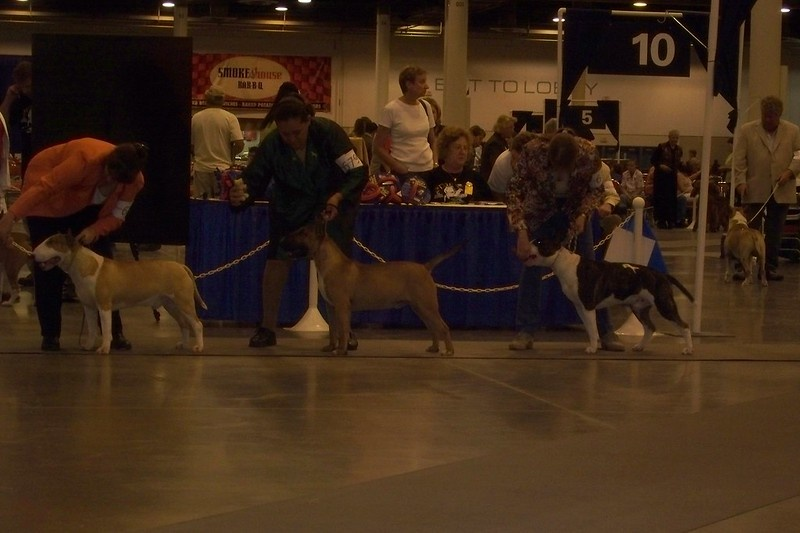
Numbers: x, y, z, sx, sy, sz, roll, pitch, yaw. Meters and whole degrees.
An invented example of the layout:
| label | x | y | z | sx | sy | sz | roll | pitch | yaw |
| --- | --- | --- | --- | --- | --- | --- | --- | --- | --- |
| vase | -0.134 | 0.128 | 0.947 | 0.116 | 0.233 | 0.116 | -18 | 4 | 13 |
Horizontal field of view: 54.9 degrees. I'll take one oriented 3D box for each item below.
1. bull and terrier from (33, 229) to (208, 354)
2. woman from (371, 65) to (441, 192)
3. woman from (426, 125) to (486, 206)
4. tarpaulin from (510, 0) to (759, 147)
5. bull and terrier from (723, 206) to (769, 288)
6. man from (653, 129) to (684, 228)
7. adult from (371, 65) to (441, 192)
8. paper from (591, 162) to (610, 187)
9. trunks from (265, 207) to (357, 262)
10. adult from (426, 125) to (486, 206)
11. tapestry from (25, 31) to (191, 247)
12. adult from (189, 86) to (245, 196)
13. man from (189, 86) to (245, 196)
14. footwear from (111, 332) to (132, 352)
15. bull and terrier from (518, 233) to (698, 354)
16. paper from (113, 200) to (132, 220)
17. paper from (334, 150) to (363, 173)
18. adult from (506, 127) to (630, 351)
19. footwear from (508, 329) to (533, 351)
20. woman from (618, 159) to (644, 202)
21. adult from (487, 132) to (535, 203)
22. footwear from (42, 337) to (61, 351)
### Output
| label | x | y | z | sx | sy | sz | roll | pitch | yaw |
| --- | --- | --- | --- | --- | --- | --- | --- | --- | --- |
| bull and terrier | -2.146 | 0.247 | 6.037 | 1.225 | 0.950 | 0.383 | 3 | -2 | -32 |
| woman | 0.035 | -1.486 | 8.212 | 0.593 | 1.162 | 0.697 | 2 | 6 | 12 |
| woman | 0.583 | -1.075 | 8.266 | 0.751 | 0.841 | 0.466 | 0 | 6 | -14 |
| tarpaulin | 2.607 | -2.043 | 8.106 | 1.736 | 1.256 | 1.497 | 3 | 7 | 20 |
| bull and terrier | 4.877 | -0.253 | 10.953 | 0.392 | 1.099 | 1.653 | -1 | 3 | 10 |
| man | 7.009 | -2.279 | 20.089 | 0.806 | 2.442 | 0.700 | -7 | 17 | -17 |
| adult | 0.051 | -1.491 | 8.247 | 0.567 | 1.162 | 0.730 | 3 | 6 | 20 |
| paper | 1.661 | -0.754 | 6.410 | 0.196 | 0.292 | 0.154 | 3 | 5 | 13 |
| trunks | -0.695 | -0.248 | 6.207 | 0.565 | 0.453 | 0.410 | 4 | -6 | -22 |
| adult | 0.585 | -1.072 | 8.273 | 0.754 | 0.833 | 0.462 | 1 | 3 | -11 |
| tapestry | -2.479 | -1.421 | 6.466 | 1.197 | 0.042 | 1.748 | -2 | 45 | -13 |
| adult | -2.611 | -1.415 | 10.837 | 0.655 | 2.059 | 0.562 | 4 | 21 | -8 |
| man | -2.621 | -1.442 | 10.846 | 0.680 | 2.090 | 0.585 | 3 | 23 | -13 |
| footwear | -2.238 | 0.620 | 6.191 | 0.176 | 0.195 | 0.092 | 0 | 3 | -5 |
| bull and terrier | 1.750 | 0.282 | 6.358 | 1.403 | 0.922 | 0.299 | 0 | 6 | -6 |
| paper | -2.194 | -0.443 | 6.134 | 0.125 | 0.123 | 0.134 | 25 | 1 | -43 |
| paper | -0.400 | -0.838 | 6.169 | 0.225 | 0.187 | 0.120 | -1 | 6 | -16 |
| adult | 1.265 | -0.204 | 6.489 | 0.977 | 1.926 | 0.890 | -7 | 15 | -16 |
| footwear | 1.054 | 0.654 | 6.689 | 0.101 | 0.120 | 0.261 | -3 | -6 | 40 |
| woman | 6.613 | -2.341 | 22.108 | 0.637 | 1.353 | 0.912 | 5 | 13 | 37 |
| adult | 1.002 | -0.918 | 7.041 | 0.277 | 0.664 | 0.326 | -8 | -23 | 9 |
| footwear | -2.748 | 0.617 | 6.079 | 0.072 | 0.080 | 0.181 | 2 | 7 | -10 |
